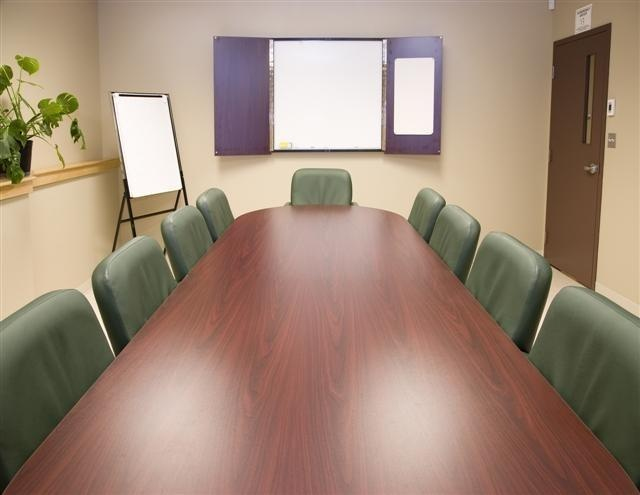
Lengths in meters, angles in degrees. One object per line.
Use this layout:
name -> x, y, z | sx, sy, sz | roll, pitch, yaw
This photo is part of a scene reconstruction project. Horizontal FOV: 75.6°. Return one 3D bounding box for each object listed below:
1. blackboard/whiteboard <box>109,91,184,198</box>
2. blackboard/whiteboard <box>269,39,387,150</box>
blackboard/whiteboard -> -2.043, -1.227, 4.852 | 0.090, 1.675, 1.039 | -1, 6, 28
blackboard/whiteboard -> 0.071, -2.015, 5.281 | 0.995, 1.233, 0.043 | 0, 8, 1
